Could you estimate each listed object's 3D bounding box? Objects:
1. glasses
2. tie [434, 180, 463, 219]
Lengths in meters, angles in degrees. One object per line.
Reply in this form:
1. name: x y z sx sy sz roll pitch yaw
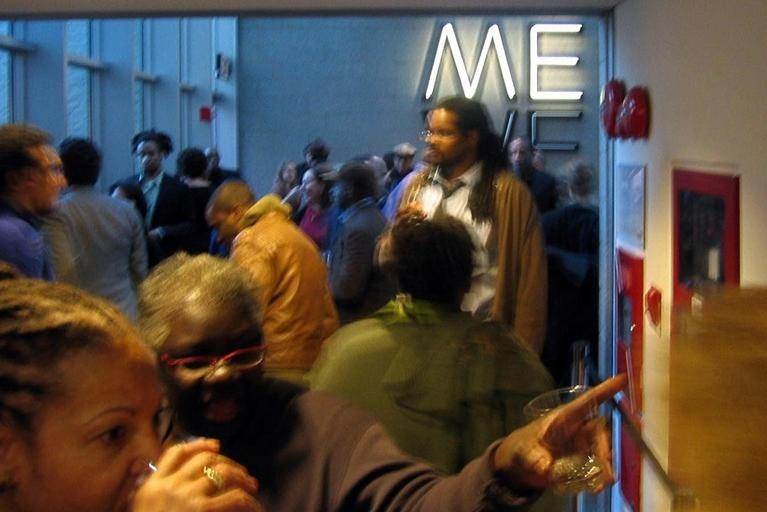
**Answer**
1. glasses: -0.426 0.263 1.564 0.249 0.076 0.043 -1 8 -14
2. tie: 0.223 -0.202 2.108 0.090 0.139 0.120 6 3 -13
